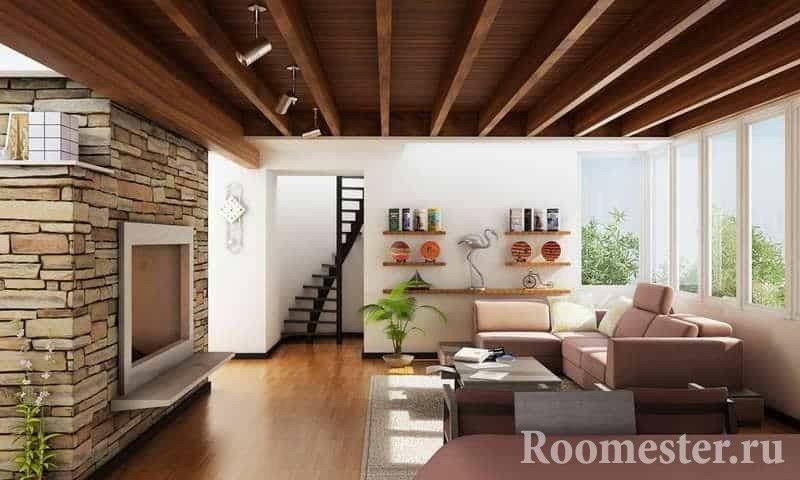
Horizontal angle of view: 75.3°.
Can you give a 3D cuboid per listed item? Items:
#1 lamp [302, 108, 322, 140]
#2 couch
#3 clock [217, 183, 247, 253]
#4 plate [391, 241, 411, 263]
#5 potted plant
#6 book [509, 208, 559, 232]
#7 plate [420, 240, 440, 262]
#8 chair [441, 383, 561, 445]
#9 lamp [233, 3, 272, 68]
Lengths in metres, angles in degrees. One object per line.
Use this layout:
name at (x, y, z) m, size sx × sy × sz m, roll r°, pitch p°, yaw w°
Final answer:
lamp at (-1.078, -1.453, 6.393) m, size 0.234 × 0.387 × 0.519 m, roll -2°, pitch 8°, yaw -8°
couch at (2.736, 1.293, 6.299) m, size 1.904 × 0.822 × 2.338 m, roll 1°, pitch -4°, yaw 5°
clock at (-2.582, -0.346, 8.017) m, size 0.377 × 1.072 × 0.198 m, roll -2°, pitch 9°, yaw -10°
plate at (0.013, 0.174, 7.948) m, size 0.289 × 0.322 × 0.204 m, roll 0°, pitch 9°, yaw -1°
potted plant at (0.064, 1.295, 8.150) m, size 1.457 × 1.175 × 1.301 m, roll 1°, pitch -8°, yaw -6°
book at (2.075, -0.312, 7.989) m, size 0.726 × 0.367 × 0.248 m, roll 1°, pitch 9°, yaw 8°
plate at (0.466, 0.159, 7.812) m, size 0.348 × 0.279 × 0.220 m, roll -2°, pitch 1°, yaw 1°
chair at (0.869, 1.293, 4.485) m, size 0.816 × 0.713 × 0.732 m, roll 0°, pitch 0°, yaw 5°
lamp at (-1.291, -1.790, 4.559) m, size 0.280 × 0.501 × 0.452 m, roll -3°, pitch 9°, yaw -16°
